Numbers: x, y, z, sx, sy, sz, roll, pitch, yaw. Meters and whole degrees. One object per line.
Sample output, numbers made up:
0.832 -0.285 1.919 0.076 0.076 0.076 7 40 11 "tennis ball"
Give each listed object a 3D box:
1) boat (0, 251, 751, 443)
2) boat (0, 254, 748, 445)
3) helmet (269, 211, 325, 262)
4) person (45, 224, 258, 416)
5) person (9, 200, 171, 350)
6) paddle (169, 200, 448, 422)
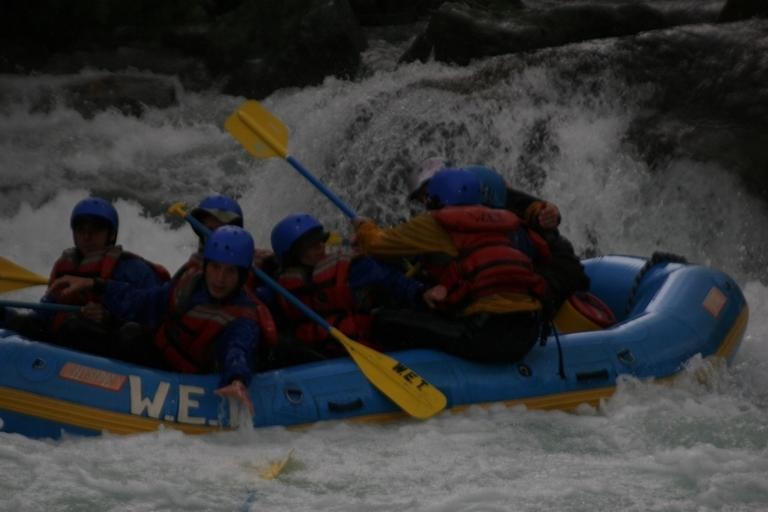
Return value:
-0.131 1.010 11.758 5.512 1.046 2.549 -6 17 -7 "boat"
0.049 0.996 11.753 5.511 1.055 2.543 -6 20 -7 "boat"
-0.825 -0.220 12.116 0.573 0.411 0.422 -22 -6 -15 "helmet"
-1.721 0.533 11.204 1.184 1.570 0.679 1 6 -7 "person"
-3.030 0.237 12.521 1.135 0.938 1.606 -10 42 -6 "person"
-0.673 0.608 11.567 3.509 0.153 0.442 34 57 14 "paddle"
